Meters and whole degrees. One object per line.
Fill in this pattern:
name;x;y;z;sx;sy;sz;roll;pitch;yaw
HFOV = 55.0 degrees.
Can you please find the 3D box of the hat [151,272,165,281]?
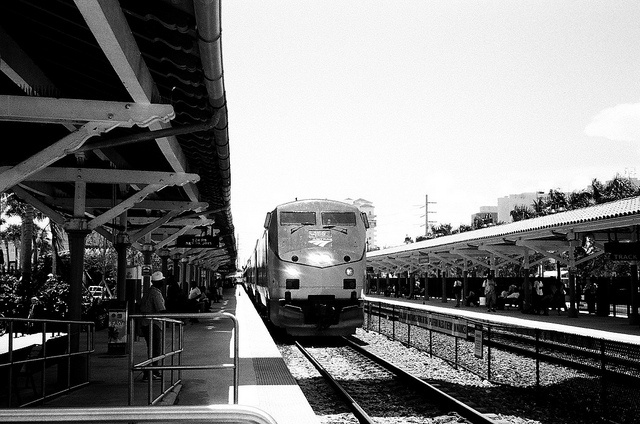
hat;-3.568;1.457;13.524;0.252;0.153;0.209;-4;15;29
